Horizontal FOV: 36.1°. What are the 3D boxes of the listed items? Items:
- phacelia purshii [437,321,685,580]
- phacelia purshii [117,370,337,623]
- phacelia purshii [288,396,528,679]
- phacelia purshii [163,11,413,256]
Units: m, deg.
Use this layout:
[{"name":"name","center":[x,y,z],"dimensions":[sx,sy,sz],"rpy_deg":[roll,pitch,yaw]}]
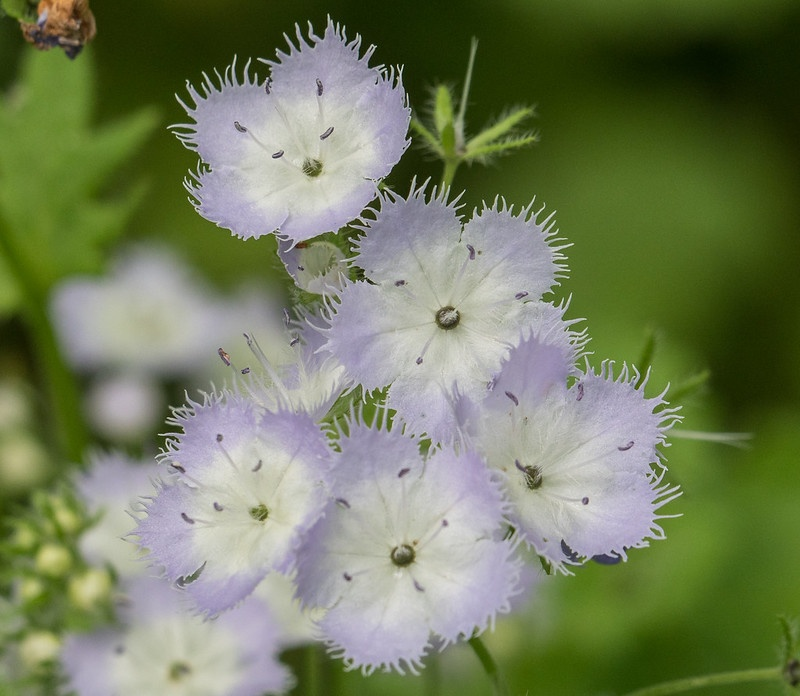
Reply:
[{"name":"phacelia purshii","center":[0.335,0.219,2.727],"dimensions":[0.414,0.188,0.436],"rpy_deg":[20,4,-7]},{"name":"phacelia purshii","center":[-0.353,0.313,2.614],"dimensions":[0.417,0.468,0.178],"rpy_deg":[-21,-13,20]},{"name":"phacelia purshii","center":[0.009,0.403,2.541],"dimensions":[0.457,0.400,0.295],"rpy_deg":[-2,33,-7]},{"name":"phacelia purshii","center":[-0.234,-0.466,2.734],"dimensions":[0.492,0.527,0.248],"rpy_deg":[-29,-19,8]}]
